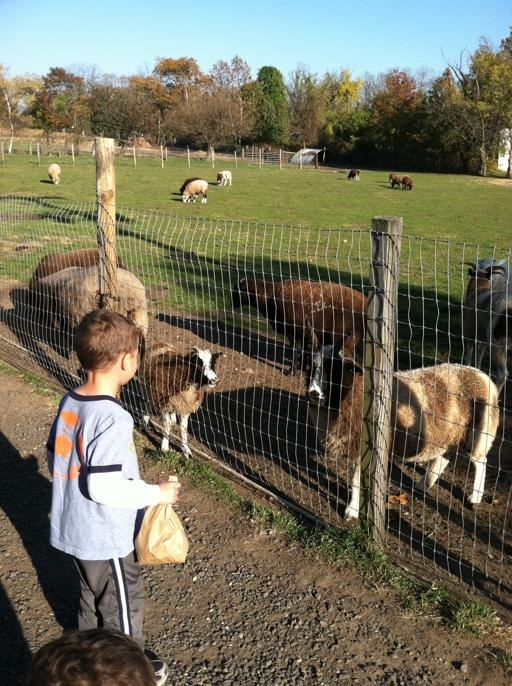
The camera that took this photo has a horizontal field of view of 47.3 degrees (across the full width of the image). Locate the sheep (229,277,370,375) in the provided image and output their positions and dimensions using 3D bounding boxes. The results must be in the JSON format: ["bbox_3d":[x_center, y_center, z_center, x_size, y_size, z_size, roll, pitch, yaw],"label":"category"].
[{"bbox_3d":[0.645,-0.230,8.552,2.368,1.404,0.637,7,12,26],"label":"sheep"}]

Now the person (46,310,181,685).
[{"bbox_3d":[-0.644,0.672,2.585,0.525,1.561,0.549,-8,18,-27],"label":"person"}]

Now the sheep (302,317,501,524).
[{"bbox_3d":[1.153,0.637,4.641,1.836,1.314,0.617,0,10,-20],"label":"sheep"}]
